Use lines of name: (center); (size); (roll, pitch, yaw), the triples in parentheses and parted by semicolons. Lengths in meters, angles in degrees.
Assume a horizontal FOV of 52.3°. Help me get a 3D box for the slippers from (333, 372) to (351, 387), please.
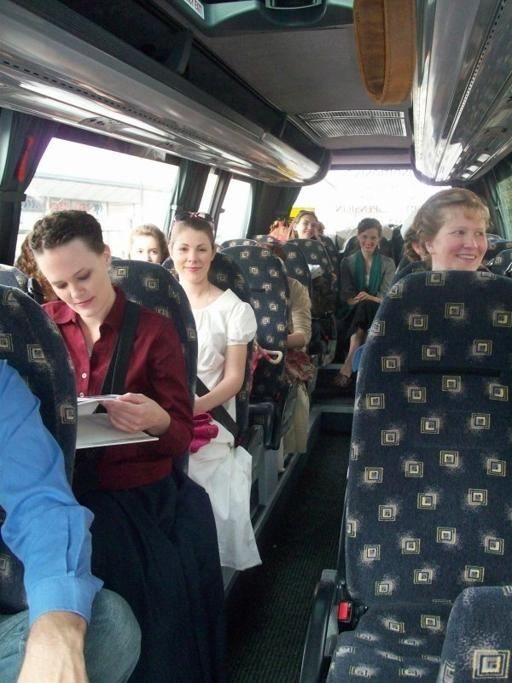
slippers: (0.917, 0.402, 5.574); (0.148, 0.142, 0.143); (0, -8, 4)

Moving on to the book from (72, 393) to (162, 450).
book: (-0.353, 0.222, 1.317); (0.207, 0.054, 0.231); (-1, -2, -17)
